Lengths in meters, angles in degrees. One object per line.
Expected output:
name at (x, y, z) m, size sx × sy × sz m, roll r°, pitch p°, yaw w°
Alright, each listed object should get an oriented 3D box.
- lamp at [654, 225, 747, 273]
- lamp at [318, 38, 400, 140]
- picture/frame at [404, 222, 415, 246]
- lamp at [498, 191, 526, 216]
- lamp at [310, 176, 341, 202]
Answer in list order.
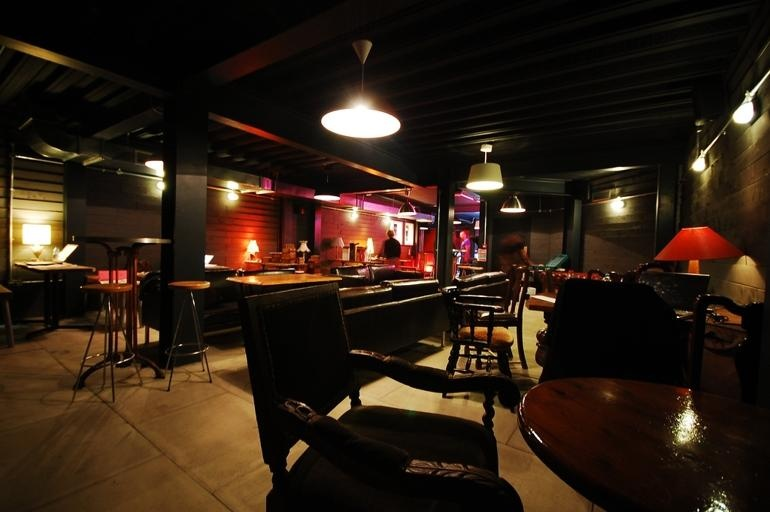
lamp at (3.519, -0.124, 5.668) m, size 0.619 × 0.530 × 0.634 m, roll -5°, pitch 6°, yaw -12°
lamp at (-0.127, -1.876, 6.067) m, size 1.097 × 0.981 × 1.065 m, roll 0°, pitch -6°, yaw 5°
picture/frame at (0.883, -0.829, 18.447) m, size 0.097 × 0.765 × 0.933 m, roll 0°, pitch 0°, yaw 23°
lamp at (3.139, -1.303, 12.330) m, size 0.683 × 0.662 × 0.643 m, roll -3°, pitch 8°, yaw -31°
lamp at (-1.285, -1.559, 11.140) m, size 0.670 × 0.685 × 0.650 m, roll 1°, pitch -5°, yaw -8°
